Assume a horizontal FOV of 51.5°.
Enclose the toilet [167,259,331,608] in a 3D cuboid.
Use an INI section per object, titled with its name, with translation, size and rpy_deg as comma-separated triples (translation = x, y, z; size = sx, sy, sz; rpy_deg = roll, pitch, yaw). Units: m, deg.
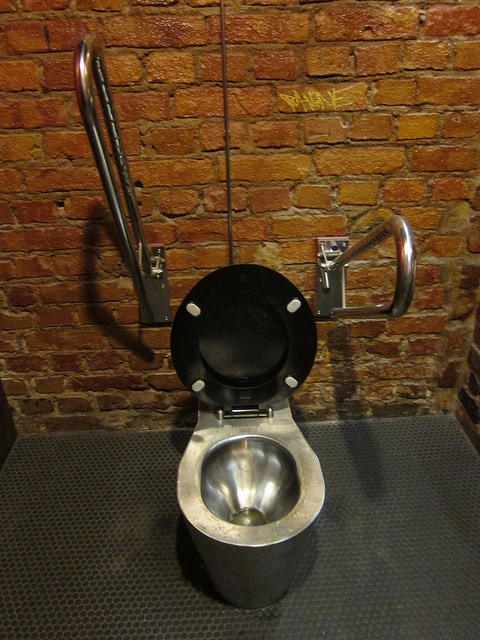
[toilet]
translation = 0.009, 0.261, 1.144
size = 0.358, 0.631, 0.534
rpy_deg = -2, 38, 5
